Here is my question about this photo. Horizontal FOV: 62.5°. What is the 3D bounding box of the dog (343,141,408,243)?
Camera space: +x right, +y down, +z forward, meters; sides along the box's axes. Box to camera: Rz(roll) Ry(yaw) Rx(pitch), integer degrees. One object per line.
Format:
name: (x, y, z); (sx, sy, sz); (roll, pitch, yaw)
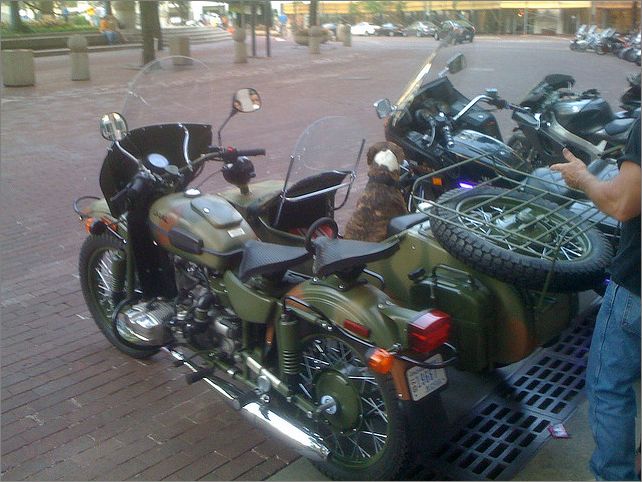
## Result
dog: (0.508, -0.423, 4.418); (0.394, 0.991, 0.566); (8, -14, 18)
